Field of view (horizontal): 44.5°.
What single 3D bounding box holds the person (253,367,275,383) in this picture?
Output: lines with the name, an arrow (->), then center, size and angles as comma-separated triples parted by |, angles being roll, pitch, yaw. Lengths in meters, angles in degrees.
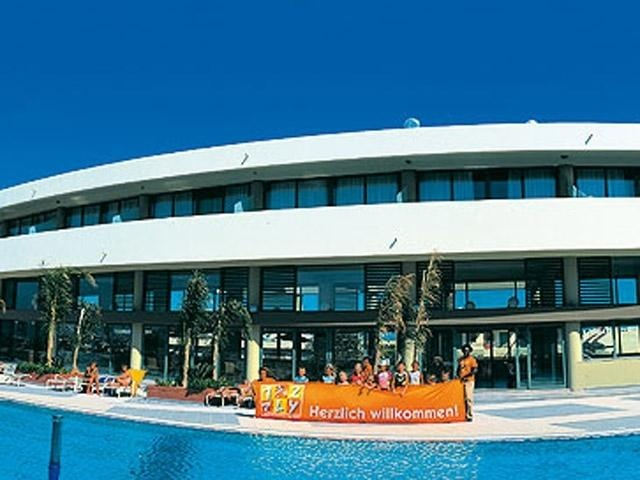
person -> -2.823, 6.701, 39.152 | 1.192, 0.989, 0.660 | 1, -27, -11

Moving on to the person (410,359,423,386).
person -> 4.258, 5.876, 34.744 | 0.555, 1.076, 1.712 | -2, -13, 7

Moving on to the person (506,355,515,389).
person -> 10.003, 6.887, 40.811 | 0.485, 1.552, 0.308 | -3, -12, 13

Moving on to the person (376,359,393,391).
person -> 2.898, 6.106, 35.415 | 0.749, 1.429, 0.712 | -2, -33, 4

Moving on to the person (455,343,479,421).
person -> 6.231, 6.092, 33.739 | 0.895, 3.209, 0.999 | 1, -5, -25
